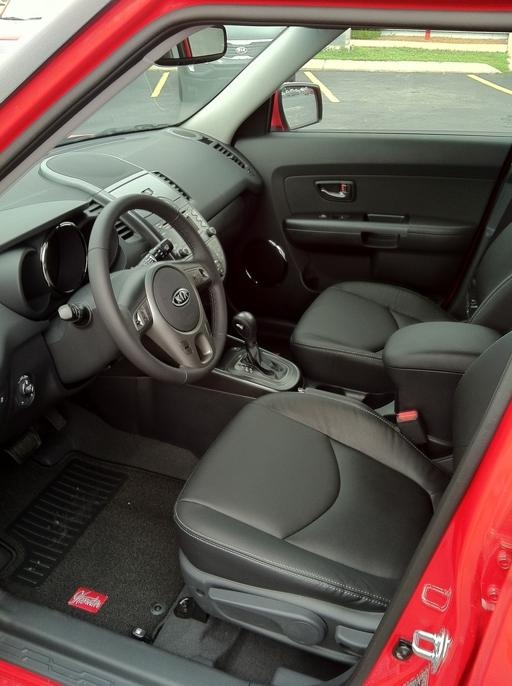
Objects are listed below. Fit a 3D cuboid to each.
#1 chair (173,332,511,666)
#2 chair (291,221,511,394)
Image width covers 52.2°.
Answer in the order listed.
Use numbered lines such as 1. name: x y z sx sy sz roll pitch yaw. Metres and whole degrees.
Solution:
1. chair: 0.186 0.426 1.556 0.789 0.899 0.673 16 45 21
2. chair: 0.475 -0.199 2.017 0.802 0.684 0.513 15 46 19
